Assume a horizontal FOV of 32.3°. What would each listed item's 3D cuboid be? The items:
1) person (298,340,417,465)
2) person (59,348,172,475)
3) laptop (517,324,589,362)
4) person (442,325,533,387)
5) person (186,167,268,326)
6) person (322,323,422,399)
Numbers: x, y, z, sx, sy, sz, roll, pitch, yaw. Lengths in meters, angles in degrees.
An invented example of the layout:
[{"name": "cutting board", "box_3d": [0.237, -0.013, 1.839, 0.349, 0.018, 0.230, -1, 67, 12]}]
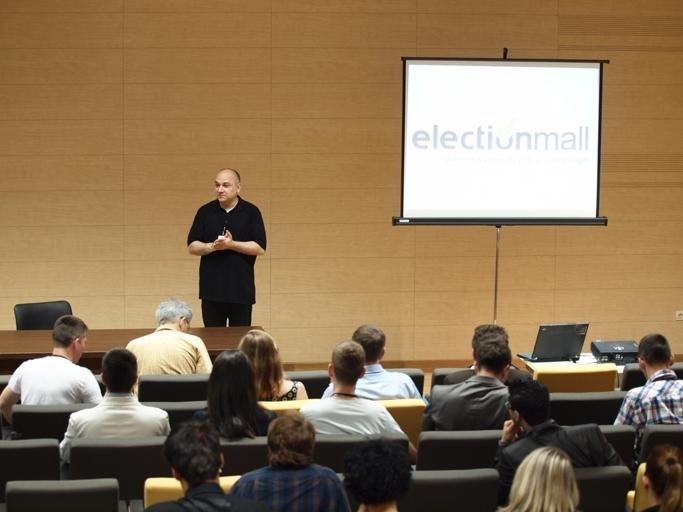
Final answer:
[{"name": "person", "box_3d": [0.046, 1.218, 9.022, 1.220, 1.095, 0.642, 0, 6, 9]}, {"name": "person", "box_3d": [-1.675, 1.120, 8.959, 0.819, 1.536, 0.827, -1, 6, -7]}, {"name": "laptop", "box_3d": [1.959, 0.742, 10.867, 0.443, 0.317, 0.390, 0, 2, -13]}, {"name": "person", "box_3d": [1.147, 0.803, 9.668, 0.508, 0.740, 0.592, 0, 4, -1]}, {"name": "person", "box_3d": [-1.145, -0.072, 11.687, 0.755, 1.561, 0.538, 1, -1, -10]}, {"name": "person", "box_3d": [0.225, 0.925, 10.388, 0.536, 0.934, 0.313, -5, 32, -4]}]
